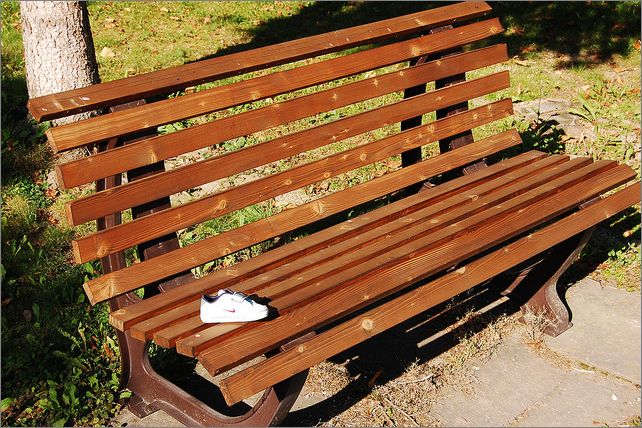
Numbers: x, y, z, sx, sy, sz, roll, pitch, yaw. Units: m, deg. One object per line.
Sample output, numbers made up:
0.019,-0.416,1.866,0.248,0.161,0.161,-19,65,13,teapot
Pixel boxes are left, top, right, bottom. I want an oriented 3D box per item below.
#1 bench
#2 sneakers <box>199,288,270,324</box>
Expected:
0.171,0.097,3.442,3.273,1.998,2.093,-27,45,-26,bench
-0.451,0.469,2.775,0.431,0.177,0.143,-1,15,1,sneakers
